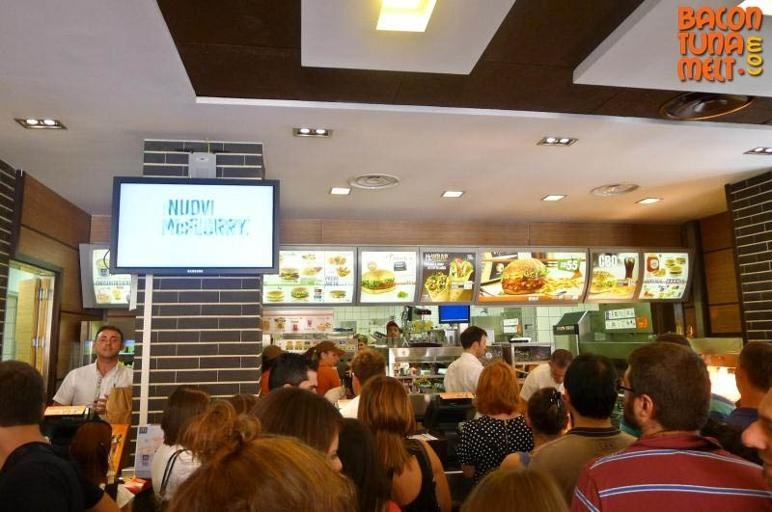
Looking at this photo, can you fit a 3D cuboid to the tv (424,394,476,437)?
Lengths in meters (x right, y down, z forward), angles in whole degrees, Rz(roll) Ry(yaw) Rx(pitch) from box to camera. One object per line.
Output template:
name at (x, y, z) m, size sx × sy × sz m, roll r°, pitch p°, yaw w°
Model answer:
tv at (0.519, 1.374, 4.417) m, size 0.372 × 0.422 × 0.359 m, roll 5°, pitch -18°, yaw -6°

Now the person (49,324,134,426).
person at (-2.853, 1.139, 4.877) m, size 0.934 × 1.027 × 0.644 m, roll 4°, pitch -17°, yaw -31°

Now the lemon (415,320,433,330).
lemon at (0.680, 1.260, 9.234) m, size 0.231 × 0.167 × 0.215 m, roll 2°, pitch -10°, yaw -1°

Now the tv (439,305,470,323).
tv at (1.198, 1.017, 8.986) m, size 0.605 × 0.365 × 0.076 m, roll 2°, pitch -16°, yaw -6°

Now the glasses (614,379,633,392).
glasses at (1.005, 0.550, 2.152) m, size 0.070 × 0.018 × 0.062 m, roll 6°, pitch -7°, yaw -1°

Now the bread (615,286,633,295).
bread at (3.432, 0.511, 7.291) m, size 0.261 × 0.165 × 0.106 m, roll 4°, pitch -13°, yaw -22°

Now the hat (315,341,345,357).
hat at (-0.542, 1.021, 5.652) m, size 0.404 × 0.118 × 0.287 m, roll 6°, pitch -8°, yaw -28°

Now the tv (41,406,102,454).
tv at (-2.092, 1.098, 3.396) m, size 0.312 × 0.260 × 0.285 m, roll 1°, pitch 1°, yaw -1°
